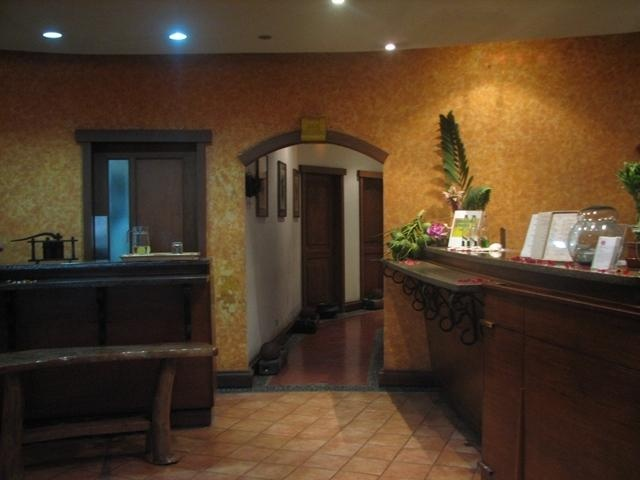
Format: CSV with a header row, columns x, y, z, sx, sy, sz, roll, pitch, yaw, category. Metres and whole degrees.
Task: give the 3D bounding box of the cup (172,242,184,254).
x,y,z,sx,sy,sz,roll,pitch,yaw,category
-1.318,0.074,4.476,0.083,0.114,0.114,0,0,2,cup
